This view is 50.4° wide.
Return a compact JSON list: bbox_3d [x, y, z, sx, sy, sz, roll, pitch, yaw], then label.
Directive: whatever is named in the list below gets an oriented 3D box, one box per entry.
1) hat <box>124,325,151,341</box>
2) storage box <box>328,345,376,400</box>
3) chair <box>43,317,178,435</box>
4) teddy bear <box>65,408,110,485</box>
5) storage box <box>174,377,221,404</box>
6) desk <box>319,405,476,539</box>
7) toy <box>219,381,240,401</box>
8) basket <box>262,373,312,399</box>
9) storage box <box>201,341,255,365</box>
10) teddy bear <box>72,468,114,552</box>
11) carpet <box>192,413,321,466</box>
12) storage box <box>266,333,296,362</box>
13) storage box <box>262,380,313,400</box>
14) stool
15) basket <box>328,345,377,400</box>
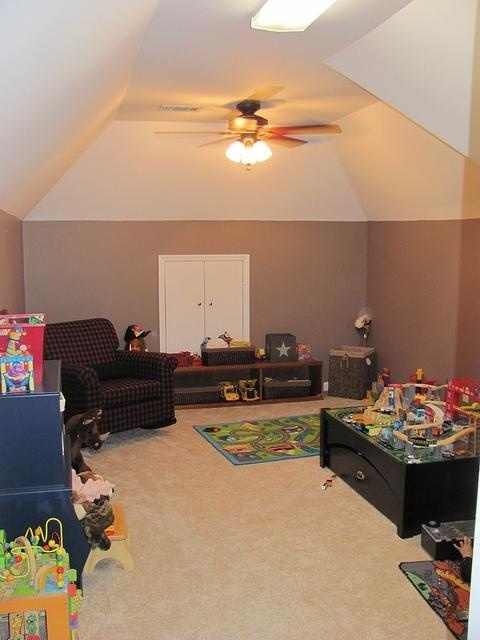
[{"bbox_3d":[-1.109,0.140,5.460,0.235,0.121,0.162,-9,16,-11],"label":"hat"},{"bbox_3d":[1.258,0.582,6.037,0.574,0.660,0.585,7,8,41],"label":"storage box"},{"bbox_3d":[-1.286,0.450,4.792,1.022,1.085,1.144,-3,3,-39],"label":"chair"},{"bbox_3d":[-0.852,0.637,2.727,0.261,0.338,0.227,13,-6,6],"label":"teddy bear"},{"bbox_3d":[-0.478,0.778,5.591,0.508,0.257,0.119,1,-10,-10],"label":"storage box"},{"bbox_3d":[0.990,0.730,2.979,0.502,0.393,0.889,-1,7,-15],"label":"desk"},{"bbox_3d":[-0.128,0.761,5.728,0.306,0.274,0.173,1,-4,-15],"label":"toy"},{"bbox_3d":[0.525,0.734,5.778,0.400,0.138,0.271,-1,-1,-12],"label":"basket"},{"bbox_3d":[-0.128,0.396,5.626,0.585,0.207,0.150,-1,4,-7],"label":"storage box"},{"bbox_3d":[-0.718,0.862,2.376,0.238,0.121,0.330,22,12,-39],"label":"teddy bear"},{"bbox_3d":[0.299,1.044,4.588,1.204,0.045,1.108,-2,4,-19],"label":"carpet"},{"bbox_3d":[0.470,0.311,5.924,0.322,0.292,0.311,-1,8,-6],"label":"storage box"},{"bbox_3d":[0.529,0.773,5.771,0.386,0.134,0.261,-1,0,-11],"label":"storage box"},{"bbox_3d":[-0.644,1.017,2.494,0.225,0.164,0.376,-1,7,-11],"label":"stool"},{"bbox_3d":[1.274,0.582,6.079,0.585,0.652,0.564,8,8,43],"label":"basket"}]
